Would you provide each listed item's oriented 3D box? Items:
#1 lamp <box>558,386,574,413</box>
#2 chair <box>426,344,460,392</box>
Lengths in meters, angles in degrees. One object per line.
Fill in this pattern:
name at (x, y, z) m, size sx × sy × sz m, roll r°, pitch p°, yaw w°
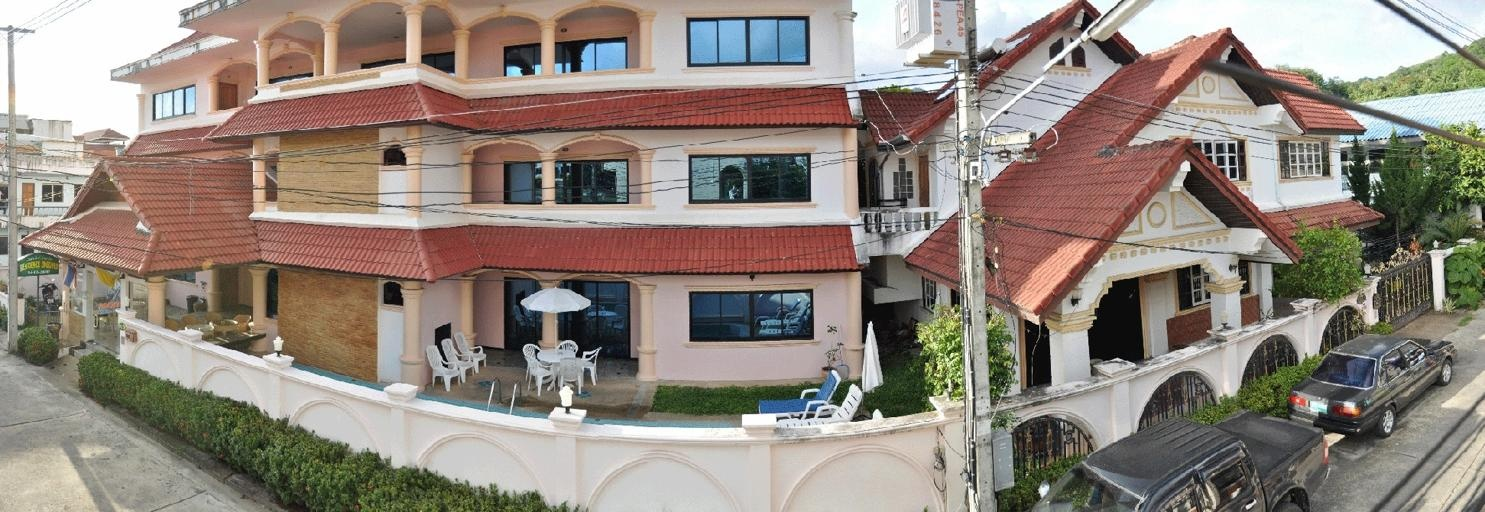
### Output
lamp at (-12.704, 10.398, 72.199) m, size 0.695 × 1.773 × 0.862 m, roll -1°, pitch 1°, yaw -23°
chair at (-23.464, 8.832, 78.393) m, size 2.619 × 3.571 × 1.264 m, roll 0°, pitch 1°, yaw -7°
